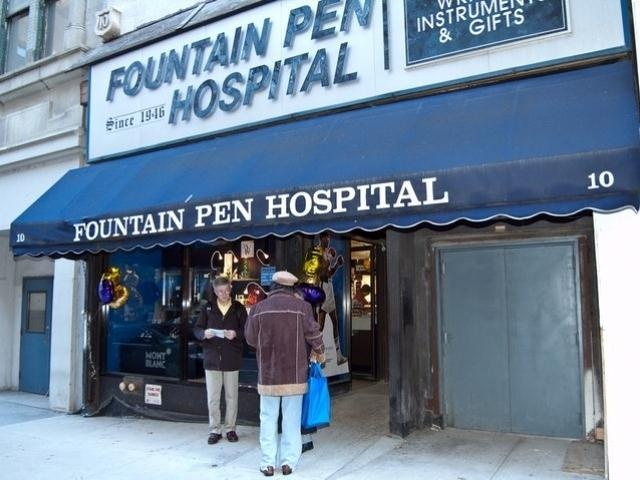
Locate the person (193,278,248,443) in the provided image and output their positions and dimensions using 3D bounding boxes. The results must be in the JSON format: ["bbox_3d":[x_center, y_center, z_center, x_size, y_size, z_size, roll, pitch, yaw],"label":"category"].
[{"bbox_3d":[-1.412,1.738,8.727,0.758,2.354,0.457,-2,0,-13],"label":"person"}]

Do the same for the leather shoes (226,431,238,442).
[{"bbox_3d":[-1.267,2.850,8.705,0.180,0.153,0.255,-2,0,-10],"label":"leather shoes"}]

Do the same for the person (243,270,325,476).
[{"bbox_3d":[-0.453,1.686,7.731,0.967,2.534,0.575,-2,0,-7],"label":"person"}]

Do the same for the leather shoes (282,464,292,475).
[{"bbox_3d":[-0.405,2.882,7.441,0.078,0.121,0.136,1,-16,1],"label":"leather shoes"}]

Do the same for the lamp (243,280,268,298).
[{"bbox_3d":[-1.052,0.817,9.806,0.287,0.202,0.278,-1,-4,36],"label":"lamp"}]

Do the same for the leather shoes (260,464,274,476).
[{"bbox_3d":[-0.642,2.886,7.454,0.122,0.100,0.104,0,-3,-3],"label":"leather shoes"}]

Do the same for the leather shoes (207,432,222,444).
[{"bbox_3d":[-1.527,2.886,8.662,0.093,0.108,0.243,-2,-13,15],"label":"leather shoes"}]
